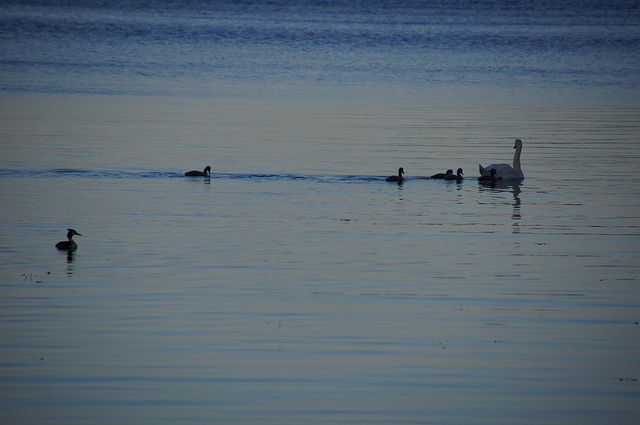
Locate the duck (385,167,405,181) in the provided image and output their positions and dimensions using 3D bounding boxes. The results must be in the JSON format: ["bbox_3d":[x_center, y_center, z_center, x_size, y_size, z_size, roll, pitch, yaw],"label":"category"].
[{"bbox_3d":[4.187,-2.050,65.094,1.060,0.735,0.756,5,-37,-6],"label":"duck"}]

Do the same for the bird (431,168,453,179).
[{"bbox_3d":[7.063,-2.186,65.976,1.758,0.294,0.709,-6,-12,7],"label":"bird"}]

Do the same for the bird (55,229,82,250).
[{"bbox_3d":[-11.272,1.198,54.547,0.752,1.144,0.910,19,-42,-19],"label":"bird"}]

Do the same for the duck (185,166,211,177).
[{"bbox_3d":[-6.593,-2.240,65.144,1.345,0.535,0.529,3,-69,-11],"label":"duck"}]
